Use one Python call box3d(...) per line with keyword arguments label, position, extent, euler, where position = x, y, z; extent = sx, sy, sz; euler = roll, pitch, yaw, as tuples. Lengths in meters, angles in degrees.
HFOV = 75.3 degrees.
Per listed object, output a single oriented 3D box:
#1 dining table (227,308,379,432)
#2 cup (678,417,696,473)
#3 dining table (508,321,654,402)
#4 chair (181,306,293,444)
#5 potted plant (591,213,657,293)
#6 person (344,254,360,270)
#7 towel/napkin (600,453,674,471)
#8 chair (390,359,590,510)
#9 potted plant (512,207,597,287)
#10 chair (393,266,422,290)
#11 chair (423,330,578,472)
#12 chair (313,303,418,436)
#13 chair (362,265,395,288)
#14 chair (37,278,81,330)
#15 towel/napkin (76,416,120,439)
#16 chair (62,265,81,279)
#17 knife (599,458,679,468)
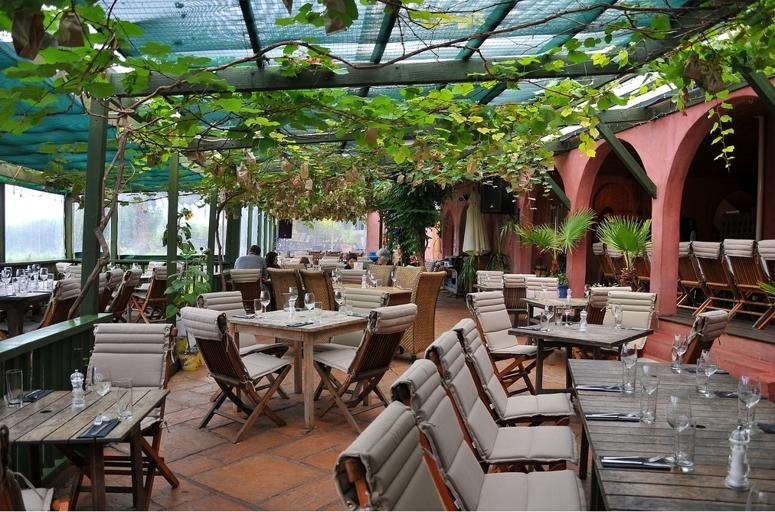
box3d(label="dining table", position=(-1.054, 1.173, 6.029), extent=(1.339, 1.201, 1.352), euler=(0, 2, 38))
box3d(label="cup", position=(1.615, 1.013, 2.714), extent=(0.080, 0.252, 0.172), euler=(0, 0, 28))
box3d(label="dining table", position=(2.244, 0.942, 5.837), extent=(1.126, 1.018, 1.119), euler=(1, 4, 23))
box3d(label="chair", position=(-1.566, 1.179, 5.368), extent=(1.008, 1.318, 1.224), euler=(0, 0, 0))
box3d(label="potted plant", position=(4.308, -0.032, 9.130), extent=(0.800, 1.291, 1.069), euler=(0, 0, 23))
box3d(label="person", position=(-1.257, 0.194, 17.313), extent=(0.486, 0.844, 0.817), euler=(0, -1, -2))
box3d(label="towel/napkin", position=(1.361, 1.119, 2.711), extent=(0.252, 0.035, 0.136), euler=(-1, -10, 3))
box3d(label="chair", position=(0.619, 0.994, 3.123), extent=(1.116, 0.779, 0.901), euler=(-3, 2, 3))
box3d(label="potted plant", position=(3.639, -0.200, 10.968), extent=(1.767, 1.187, 1.707), euler=(-3, 7, -12))
box3d(label="chair", position=(0.291, 0.457, 10.386), extent=(0.448, 0.590, 0.492), euler=(0, -5, 36))
box3d(label="chair", position=(0.735, 1.031, 3.940), extent=(1.078, 1.199, 1.058), euler=(-4, 3, 5))
box3d(label="chair", position=(-0.239, 1.131, 5.934), extent=(1.446, 1.422, 1.052), euler=(1, -1, 31))
box3d(label="chair", position=(-0.204, 0.450, 10.681), extent=(0.476, 0.607, 0.482), euler=(3, -4, 1))
box3d(label="chair", position=(-4.326, 0.601, 6.595), extent=(0.307, 0.441, 0.583), euler=(0, 0, -11))
box3d(label="towel/napkin", position=(-1.814, 1.087, 3.166), extent=(0.168, 0.061, 0.271), euler=(0, -1, -8))
box3d(label="chair", position=(-6.154, 0.327, 9.728), extent=(0.253, 0.238, 0.184), euler=(1, -6, -9))
box3d(label="knife", position=(1.351, 1.118, 2.709), extent=(0.237, 0.033, 0.127), euler=(0, -9, -2))
